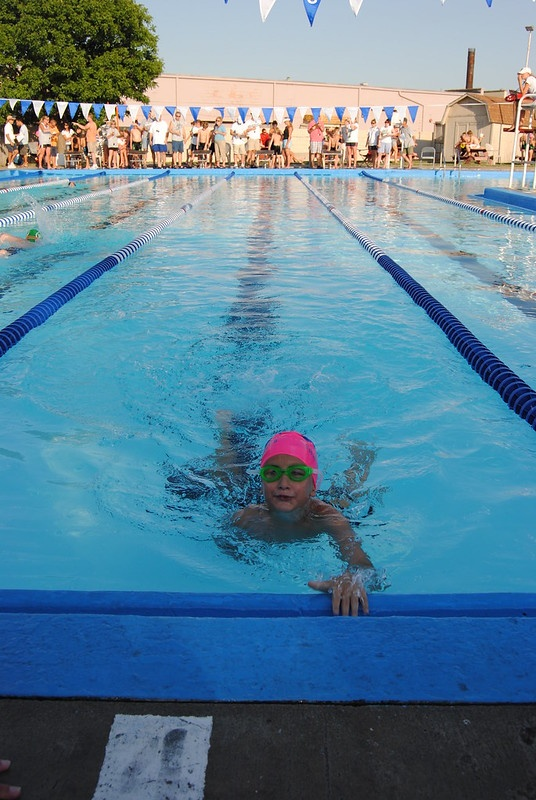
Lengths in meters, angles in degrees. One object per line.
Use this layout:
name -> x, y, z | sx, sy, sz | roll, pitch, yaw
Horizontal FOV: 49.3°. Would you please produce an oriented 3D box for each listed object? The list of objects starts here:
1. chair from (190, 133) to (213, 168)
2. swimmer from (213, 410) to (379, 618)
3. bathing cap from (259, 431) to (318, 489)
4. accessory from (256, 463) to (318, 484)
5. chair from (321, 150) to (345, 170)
chair -> -2.006, -7.441, 17.658 | 0.578, 0.492, 0.932 | -2, 26, -2
swimmer -> 0.050, 0.288, 1.753 | 0.284, 0.433, 0.920 | -10, 9, -14
bathing cap -> 0.078, 0.169, 1.725 | 0.133, 0.164, 0.184 | 3, 3, 1
accessory -> 0.051, 0.204, 1.607 | 0.143, 0.063, 0.058 | 0, 22, -1
chair -> 1.971, -7.318, 17.795 | 0.760, 0.552, 1.230 | 3, 39, 3
